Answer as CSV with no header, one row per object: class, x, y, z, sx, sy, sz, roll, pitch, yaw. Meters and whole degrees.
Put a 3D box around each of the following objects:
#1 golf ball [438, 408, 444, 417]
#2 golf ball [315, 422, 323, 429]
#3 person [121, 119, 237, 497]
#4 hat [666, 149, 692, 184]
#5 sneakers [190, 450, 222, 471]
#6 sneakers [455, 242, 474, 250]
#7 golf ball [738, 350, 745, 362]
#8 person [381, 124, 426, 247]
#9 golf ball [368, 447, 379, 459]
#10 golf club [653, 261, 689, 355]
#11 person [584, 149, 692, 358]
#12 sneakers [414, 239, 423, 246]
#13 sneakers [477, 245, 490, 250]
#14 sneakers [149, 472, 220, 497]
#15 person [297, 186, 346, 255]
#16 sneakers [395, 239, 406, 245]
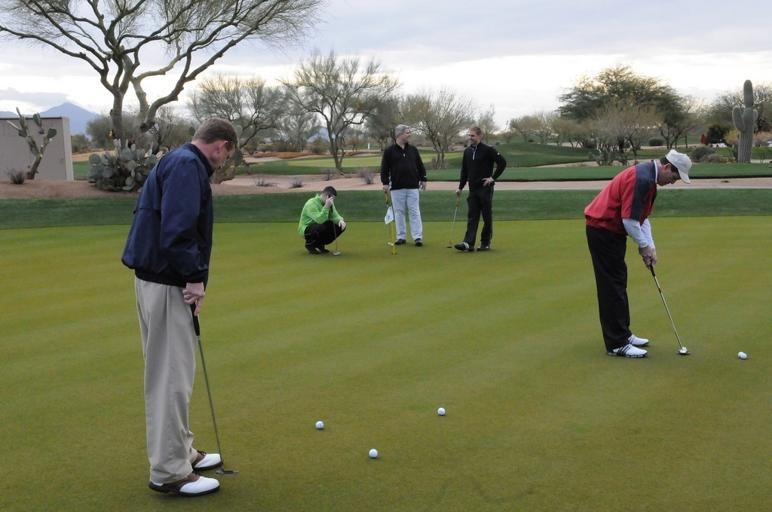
golf ball,0.516,1.464,6.636,0.078,0.054,0.121,2,9,4
golf ball,-0.600,1.538,6.428,0.089,0.055,0.099,1,9,-6
person,-1.677,0.411,5.700,0.789,3.018,0.608,-2,10,-20
hat,3.150,-0.960,7.667,0.263,0.330,0.637,5,9,21
sneakers,-1.519,1.738,6.031,0.319,0.123,0.121,-2,8,-7
sneakers,1.383,-0.160,12.584,0.327,0.145,0.131,9,7,11
golf ball,3.775,1.067,7.518,0.090,0.049,0.069,5,-19,26
person,0.325,-1.355,13.458,0.850,2.205,0.924,1,9,-1
golf ball,-0.109,1.695,6.072,0.088,0.055,0.106,1,9,-7
golf club,3.557,0.683,8.881,0.161,1.026,0.214,-20,-11,-2
person,2.643,-0.035,7.755,0.933,2.228,0.529,4,10,13
sneakers,0.595,-0.254,13.255,0.139,0.161,0.375,-1,-2,3
sneakers,1.764,-0.171,12.680,0.206,0.111,0.342,4,9,12
sneakers,-1.640,1.827,5.793,0.535,0.232,0.211,0,-3,-4
person,-1.141,-0.649,12.574,0.745,1.155,0.898,1,9,-1
sneakers,0.263,-0.256,13.233,0.228,0.092,0.074,-2,3,1
